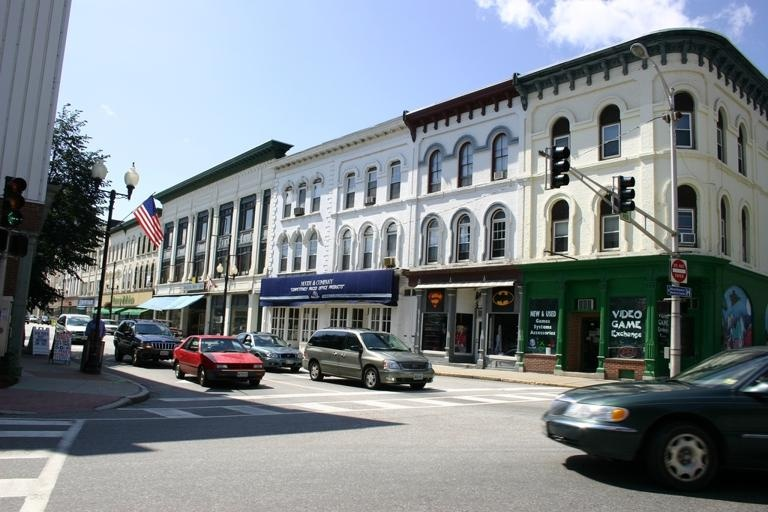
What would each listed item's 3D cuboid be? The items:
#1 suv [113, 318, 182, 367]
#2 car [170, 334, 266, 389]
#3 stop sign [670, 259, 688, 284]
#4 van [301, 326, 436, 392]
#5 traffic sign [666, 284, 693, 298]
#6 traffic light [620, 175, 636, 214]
[{"bbox_3d":[-10.544,3.807,28.976,1.773,1.591,3.708,7,-14,-35],"label":"suv"},{"bbox_3d":[-5.854,3.682,22.801,1.598,1.825,3.461,16,-17,-43],"label":"car"},{"bbox_3d":[9.827,0.475,21.593,0.843,0.925,0.140,10,-15,-33],"label":"stop sign"},{"bbox_3d":[-0.568,3.725,23.674,2.168,1.645,4.374,8,-13,-40],"label":"van"},{"bbox_3d":[9.887,1.144,21.629,1.018,0.467,0.471,15,-17,-40],"label":"traffic sign"},{"bbox_3d":[7.780,-2.127,20.708,0.448,1.381,1.271,0,-14,21],"label":"traffic light"}]
